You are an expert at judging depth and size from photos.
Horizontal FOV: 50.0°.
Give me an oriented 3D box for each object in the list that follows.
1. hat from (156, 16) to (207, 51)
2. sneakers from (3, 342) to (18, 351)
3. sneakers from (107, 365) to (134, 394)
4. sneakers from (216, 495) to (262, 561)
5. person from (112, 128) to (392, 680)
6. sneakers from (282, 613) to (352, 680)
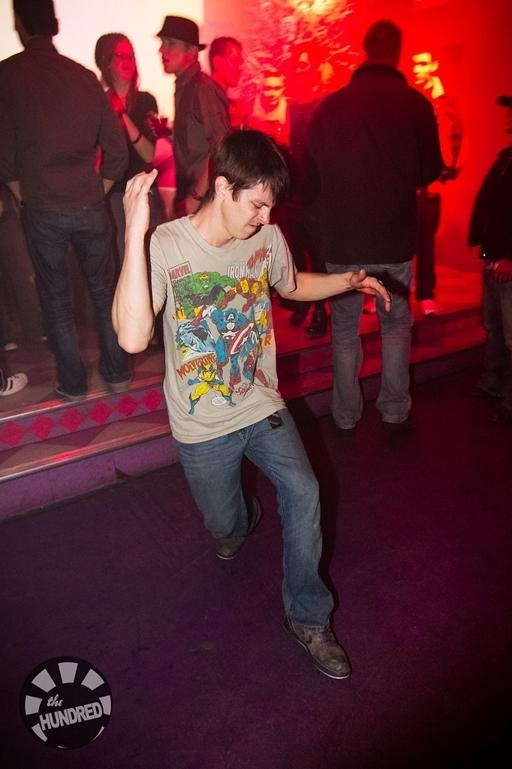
[{"bbox_3d":[-0.413,-1.924,2.988,0.229,0.087,0.174,15,10,-30],"label":"hat"},{"bbox_3d":[-1.713,-0.261,3.850,0.081,0.040,0.126,-19,31,-20],"label":"sneakers"},{"bbox_3d":[-0.707,-0.017,2.860,0.098,0.106,0.163,-5,11,-25],"label":"sneakers"},{"bbox_3d":[-0.049,0.543,2.160,0.096,0.111,0.290,1,54,31],"label":"sneakers"},{"bbox_3d":[0.002,0.059,1.627,0.545,1.448,0.828,0,29,14],"label":"person"},{"bbox_3d":[0.168,0.742,1.613,0.078,0.092,0.230,-14,21,-27],"label":"sneakers"}]
